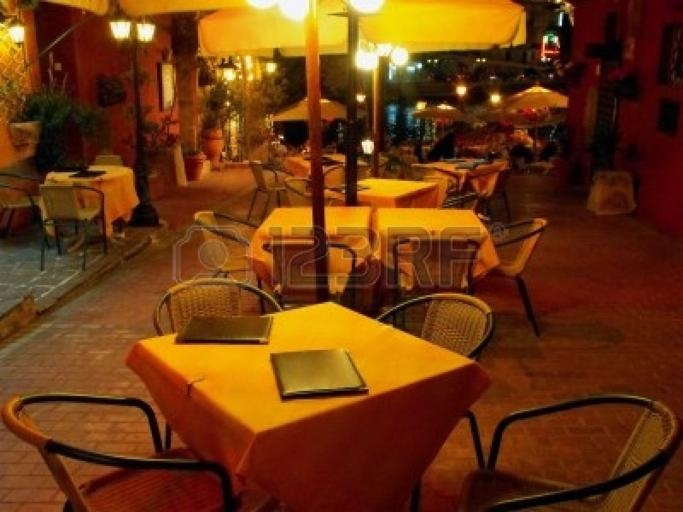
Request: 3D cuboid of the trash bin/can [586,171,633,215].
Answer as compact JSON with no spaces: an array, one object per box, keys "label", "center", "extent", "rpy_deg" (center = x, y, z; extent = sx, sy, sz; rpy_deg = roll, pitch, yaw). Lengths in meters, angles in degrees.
[{"label":"trash bin/can","center":[5.829,-1.432,12.059],"extent":[1.180,0.846,1.101],"rpy_deg":[-22,21,-37]}]
